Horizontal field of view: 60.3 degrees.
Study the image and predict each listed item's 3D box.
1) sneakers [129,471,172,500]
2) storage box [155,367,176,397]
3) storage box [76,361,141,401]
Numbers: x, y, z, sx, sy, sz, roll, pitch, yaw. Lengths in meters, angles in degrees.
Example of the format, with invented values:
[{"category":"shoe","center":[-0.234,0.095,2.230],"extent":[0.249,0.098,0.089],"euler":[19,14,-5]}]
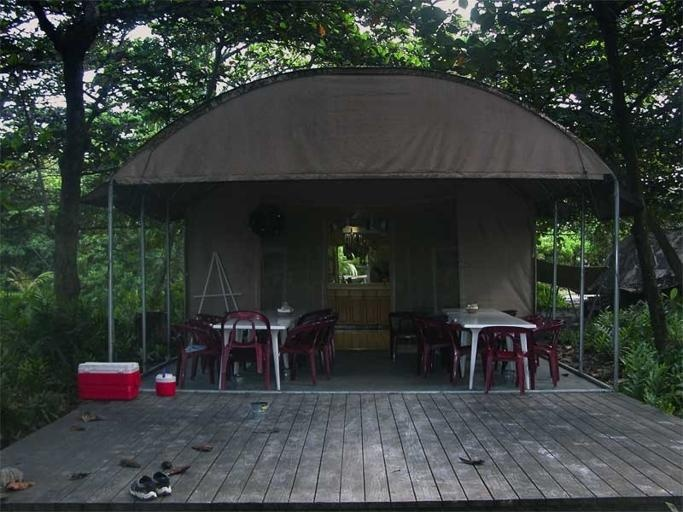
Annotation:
[{"category":"sneakers","center":[-1.521,1.826,4.698],"extent":[0.168,0.113,0.288],"euler":[4,-4,-20]},{"category":"storage box","center":[-2.191,1.585,7.386],"extent":[0.265,0.345,0.242],"euler":[0,-2,9]},{"category":"storage box","center":[-2.833,1.457,7.266],"extent":[0.640,0.468,0.453],"euler":[0,0,3]}]
